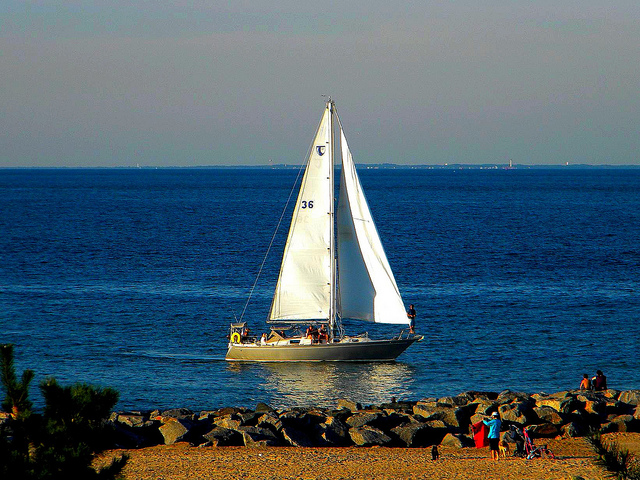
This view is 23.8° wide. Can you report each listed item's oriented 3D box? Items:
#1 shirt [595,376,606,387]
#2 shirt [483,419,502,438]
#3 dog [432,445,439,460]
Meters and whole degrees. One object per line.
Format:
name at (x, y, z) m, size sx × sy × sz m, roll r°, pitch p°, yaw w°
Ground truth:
shirt at (22.582, 11.247, 121.385) m, size 1.040 × 1.304 × 0.738 m, roll 2°, pitch -6°, yaw -7°
shirt at (12.922, 13.724, 111.152) m, size 0.801 × 1.365 × 0.636 m, roll 2°, pitch 15°, yaw 5°
dog at (8.633, 15.572, 111.613) m, size 0.484 × 0.900 × 0.650 m, roll 1°, pitch 15°, yaw 3°
